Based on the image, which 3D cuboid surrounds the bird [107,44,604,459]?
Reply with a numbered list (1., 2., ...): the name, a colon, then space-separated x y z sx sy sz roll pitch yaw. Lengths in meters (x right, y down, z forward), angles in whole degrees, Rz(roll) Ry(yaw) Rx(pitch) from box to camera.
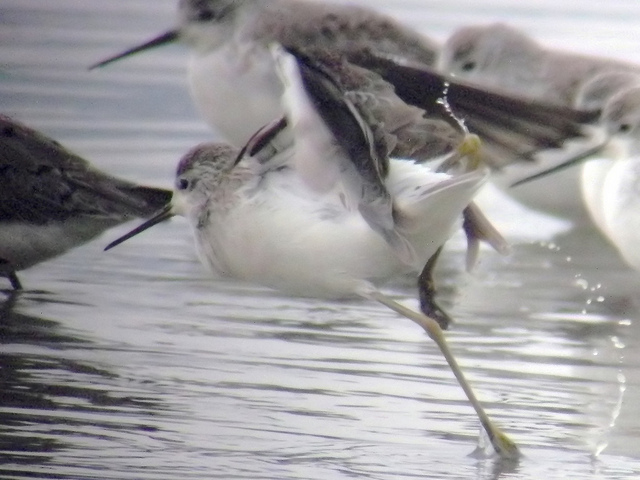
1. bird: 0.038 -0.073 1.731 0.810 0.902 0.452 1 93 10
